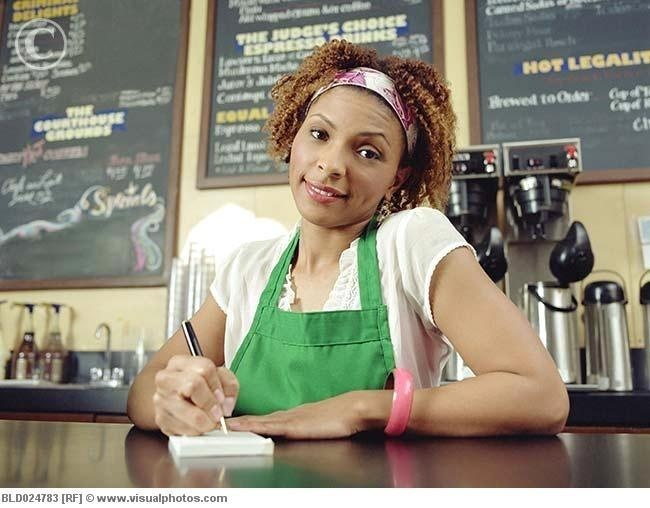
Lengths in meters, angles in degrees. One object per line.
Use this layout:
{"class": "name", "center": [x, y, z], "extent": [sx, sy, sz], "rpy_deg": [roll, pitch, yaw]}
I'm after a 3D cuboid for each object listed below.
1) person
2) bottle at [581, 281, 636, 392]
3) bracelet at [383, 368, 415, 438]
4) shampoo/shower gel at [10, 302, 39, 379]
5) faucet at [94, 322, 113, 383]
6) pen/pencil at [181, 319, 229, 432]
{"class": "person", "center": [0.048, -0.094, 1.616], "extent": [0.753, 0.931, 0.798], "rpy_deg": [-3, 3, -13]}
{"class": "bottle", "center": [1.080, 0.308, 2.553], "extent": [0.195, 0.407, 0.240], "rpy_deg": [-5, 4, -42]}
{"class": "bracelet", "center": [0.151, 0.299, 1.311], "extent": [0.028, 0.118, 0.087], "rpy_deg": [11, -9, -16]}
{"class": "shampoo/shower gel", "center": [-1.509, 0.434, 3.261], "extent": [0.131, 0.358, 0.302], "rpy_deg": [-3, 3, -26]}
{"class": "faucet", "center": [-1.092, 0.483, 3.224], "extent": [0.089, 0.286, 0.047], "rpy_deg": [0, -13, -2]}
{"class": "pen/pencil", "center": [-0.252, 0.254, 1.358], "extent": [0.024, 0.228, 0.022], "rpy_deg": [-31, -26, 31]}
